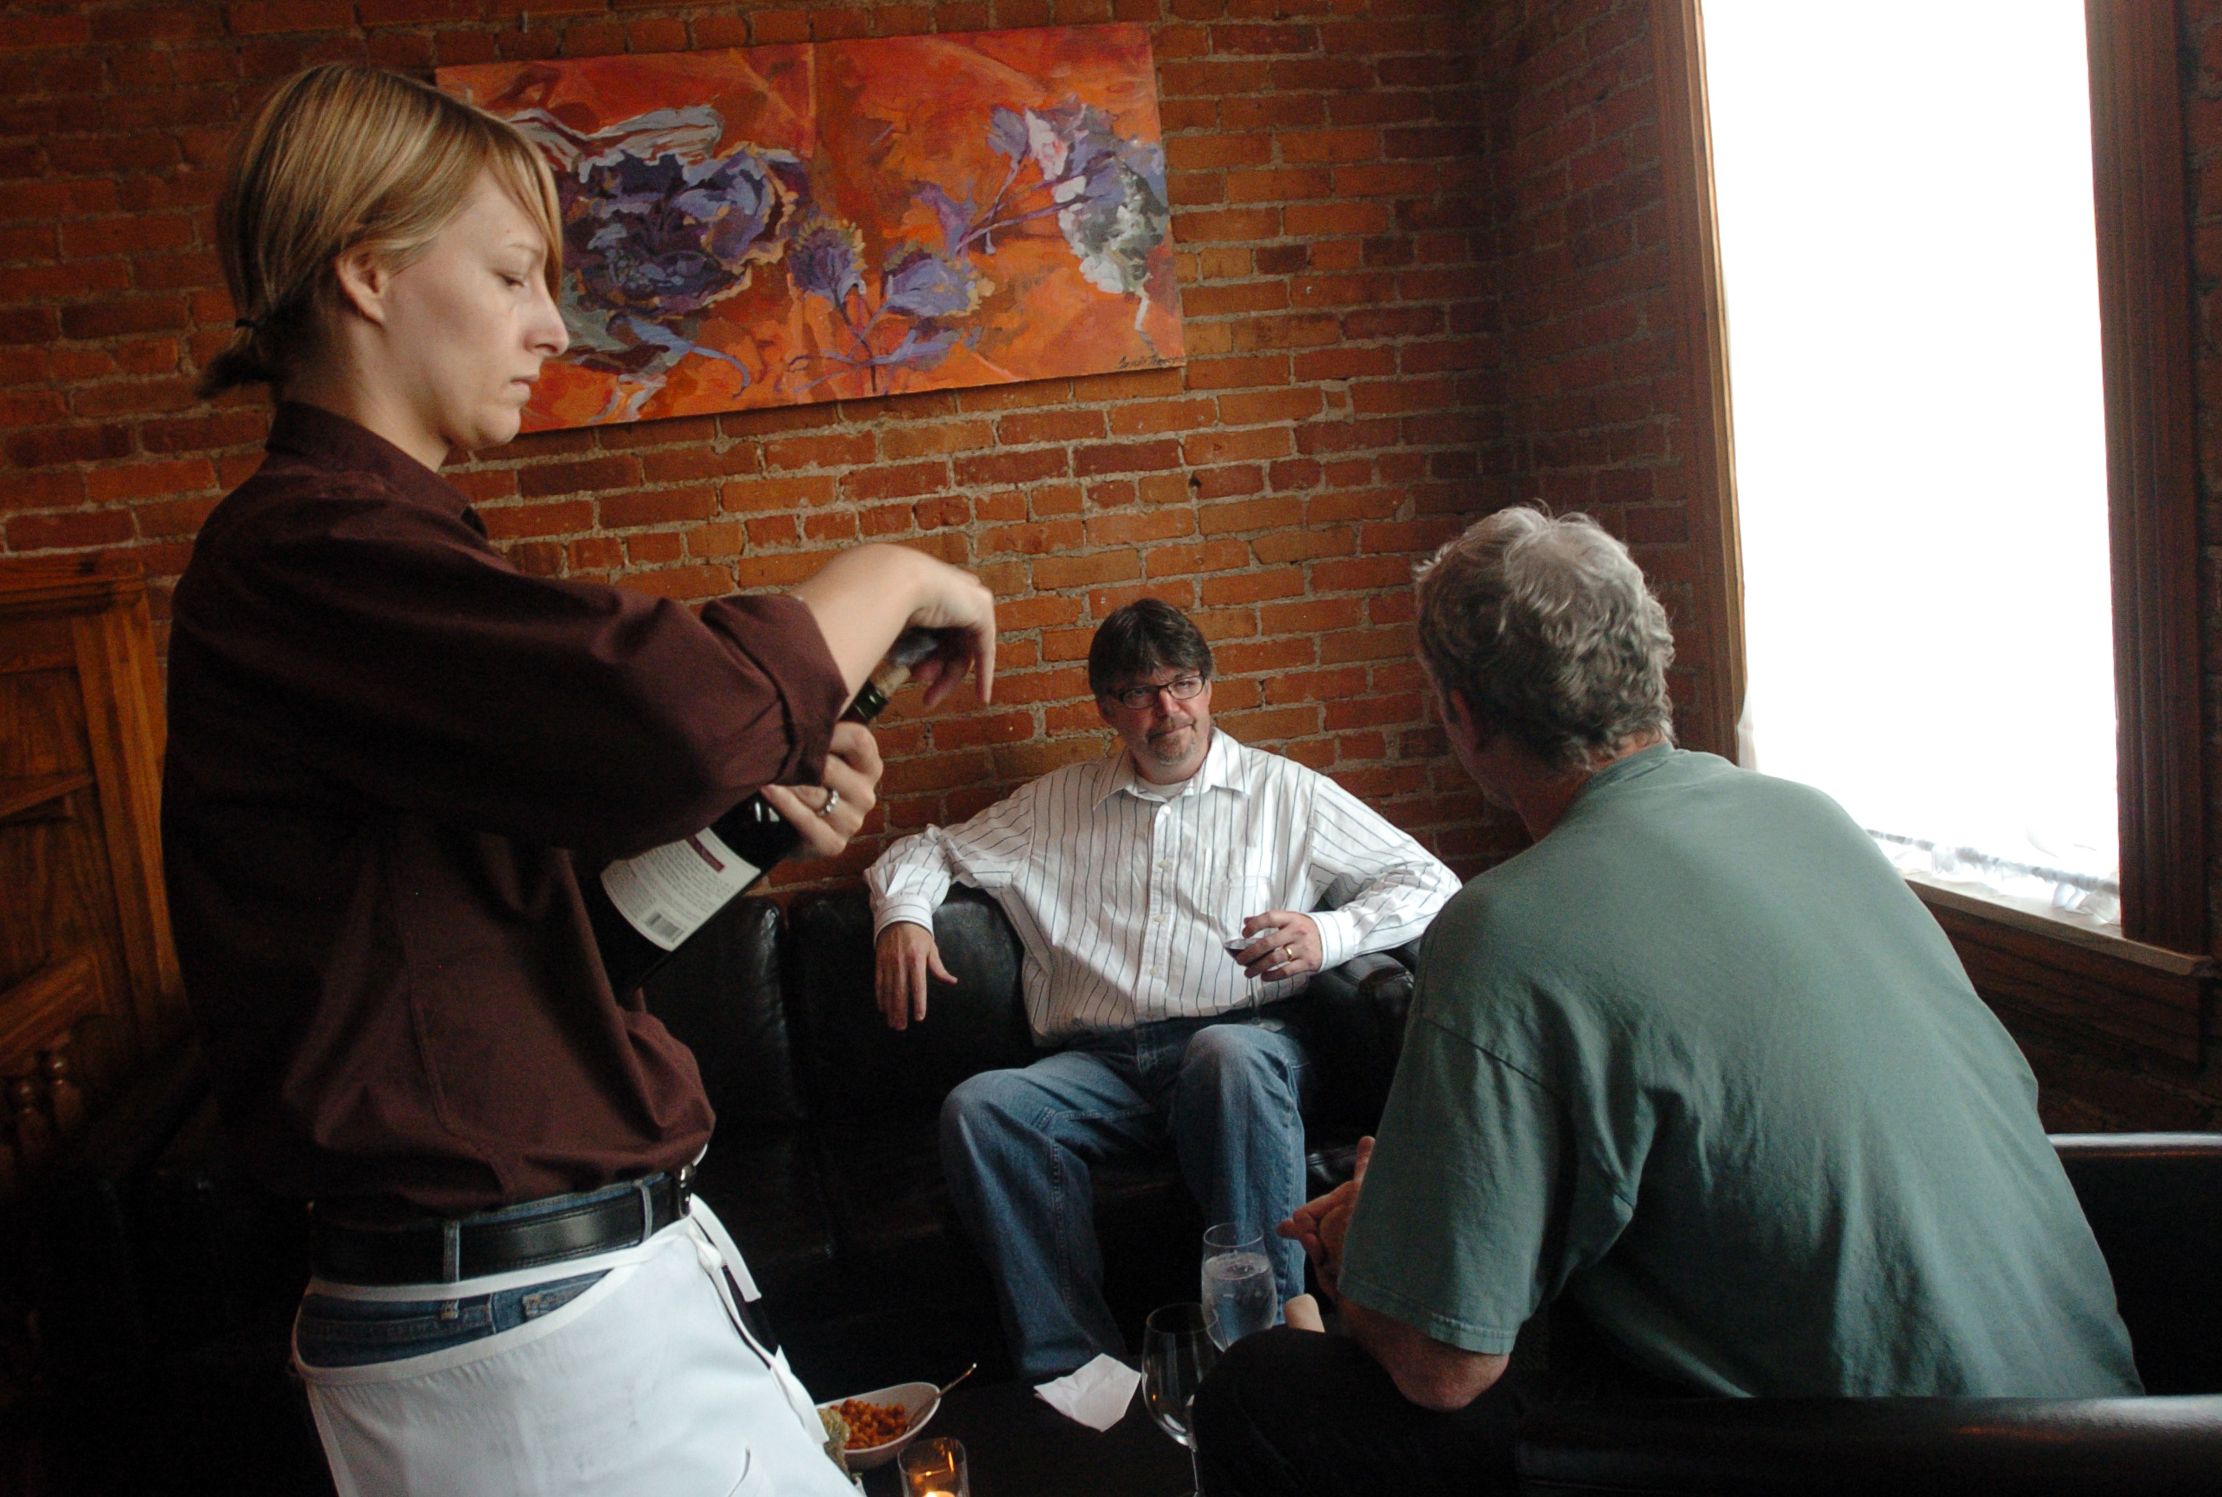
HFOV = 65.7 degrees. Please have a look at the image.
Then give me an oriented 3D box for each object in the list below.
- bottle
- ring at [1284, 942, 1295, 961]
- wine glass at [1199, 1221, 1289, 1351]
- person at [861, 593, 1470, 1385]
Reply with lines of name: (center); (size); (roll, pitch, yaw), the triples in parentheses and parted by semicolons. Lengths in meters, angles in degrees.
bottle: (-0.381, 0.123, 1.815); (0.087, 0.088, 0.382); (8, 32, 27)
ring: (0.332, 0.382, 3.229); (0.020, 0.008, 0.026); (-24, 41, -17)
wine glass: (0.165, 0.712, 2.282); (0.117, 0.157, 0.124); (-5, 5, 13)
person: (0.006, 0.481, 3.392); (1.205, 1.504, 0.909); (-6, -6, 27)
